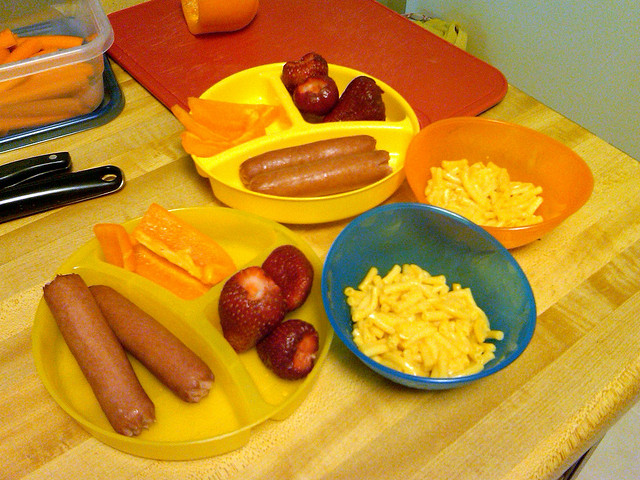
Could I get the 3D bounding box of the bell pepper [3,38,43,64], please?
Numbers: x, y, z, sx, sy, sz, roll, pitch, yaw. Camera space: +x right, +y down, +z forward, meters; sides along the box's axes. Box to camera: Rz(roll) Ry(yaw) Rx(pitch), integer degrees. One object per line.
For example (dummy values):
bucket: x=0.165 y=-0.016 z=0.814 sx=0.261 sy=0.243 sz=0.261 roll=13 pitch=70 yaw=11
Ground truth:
bell pepper: x=-0.787 y=-0.514 z=1.444 sx=0.109 sy=0.031 sz=0.059 roll=-39 pitch=25 yaw=-16

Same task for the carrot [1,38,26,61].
carrot: x=-0.815 y=-0.526 z=1.469 sx=0.096 sy=0.024 sz=0.026 roll=-32 pitch=42 yaw=-7

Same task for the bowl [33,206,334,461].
bowl: x=-0.261 y=0.166 z=1.085 sx=0.561 sy=0.143 sz=0.513 roll=1 pitch=58 yaw=-1

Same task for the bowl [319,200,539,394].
bowl: x=0.178 y=0.176 z=1.053 sx=0.446 sy=0.182 sz=0.467 roll=-14 pitch=34 yaw=9

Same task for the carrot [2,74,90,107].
carrot: x=-0.682 y=-0.374 z=1.324 sx=0.146 sy=0.026 sz=0.034 roll=-26 pitch=78 yaw=-9

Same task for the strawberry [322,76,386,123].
strawberry: x=0.094 y=-0.339 z=1.395 sx=0.146 sy=0.059 sz=0.095 roll=-30 pitch=64 yaw=10

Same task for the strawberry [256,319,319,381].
strawberry: x=-0.055 y=0.217 z=1.045 sx=0.114 sy=0.076 sz=0.105 roll=-23 pitch=60 yaw=-15

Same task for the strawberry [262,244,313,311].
strawberry: x=-0.062 y=0.076 z=1.096 sx=0.115 sy=0.047 sz=0.120 roll=-15 pitch=81 yaw=39

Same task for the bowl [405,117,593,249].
bowl: x=0.418 y=-0.194 z=1.324 sx=0.415 sy=0.342 sz=0.365 roll=2 pitch=30 yaw=6

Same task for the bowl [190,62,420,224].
bowl: x=-0.054 y=-0.240 z=1.373 sx=0.474 sy=0.099 sz=0.482 roll=1 pitch=52 yaw=-1
